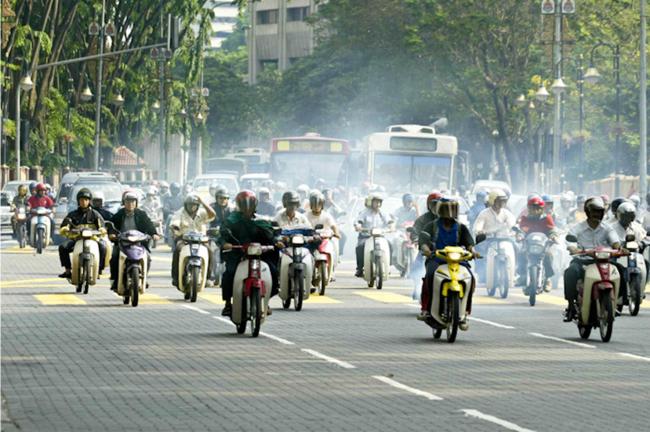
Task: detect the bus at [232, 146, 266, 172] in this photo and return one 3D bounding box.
[{"bbox_3d":[-5.163,-3.773,77.580,3.049,1.992,4.416,-1,-2,0],"label":"bus"}]

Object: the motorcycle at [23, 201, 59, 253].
[{"bbox_3d":[-8.364,0.268,34.069,0.683,1.131,2.118,2,10,-11],"label":"motorcycle"}]

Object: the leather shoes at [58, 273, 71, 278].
[{"bbox_3d":[-5.340,1.233,23.716,0.111,0.116,0.319,-2,4,-45],"label":"leather shoes"}]

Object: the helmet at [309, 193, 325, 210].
[{"bbox_3d":[-0.180,-0.300,23.974,0.284,0.316,0.350,-2,-1,-3],"label":"helmet"}]

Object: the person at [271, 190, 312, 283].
[{"bbox_3d":[-0.689,0.053,22.804,0.838,0.953,0.565,3,-13,-22],"label":"person"}]

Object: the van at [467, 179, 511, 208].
[{"bbox_3d":[5.933,-1.022,41.207,1.469,1.057,2.644,1,7,4],"label":"van"}]

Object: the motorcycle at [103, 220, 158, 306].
[{"bbox_3d":[-3.711,0.829,22.437,1.082,1.342,2.324,1,5,-5],"label":"motorcycle"}]

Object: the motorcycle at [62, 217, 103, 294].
[{"bbox_3d":[-4.942,0.892,23.908,0.938,1.240,2.219,2,-2,-11],"label":"motorcycle"}]

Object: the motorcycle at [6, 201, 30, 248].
[{"bbox_3d":[-9.563,0.214,36.031,0.934,1.172,1.942,0,-2,-17],"label":"motorcycle"}]

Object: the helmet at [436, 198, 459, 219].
[{"bbox_3d":[1.991,-0.099,18.693,0.310,0.270,0.371,1,-4,-10],"label":"helmet"}]

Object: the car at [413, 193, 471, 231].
[{"bbox_3d":[3.422,-0.080,33.074,1.824,0.814,0.985,-1,3,1],"label":"car"}]

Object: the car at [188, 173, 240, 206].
[{"bbox_3d":[-3.886,-0.969,41.695,1.537,1.158,2.432,-1,-6,-6],"label":"car"}]

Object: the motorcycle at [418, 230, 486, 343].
[{"bbox_3d":[1.937,1.250,18.163,0.713,1.508,0.604,1,-1,28],"label":"motorcycle"}]

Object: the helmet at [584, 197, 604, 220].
[{"bbox_3d":[4.540,-0.125,19.113,0.321,0.328,0.374,2,-11,-7],"label":"helmet"}]

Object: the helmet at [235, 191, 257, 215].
[{"bbox_3d":[-1.255,-0.203,18.584,0.334,0.386,0.412,0,2,-6],"label":"helmet"}]

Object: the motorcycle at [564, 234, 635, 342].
[{"bbox_3d":[4.335,1.269,18.462,0.784,1.510,0.595,1,-1,38],"label":"motorcycle"}]

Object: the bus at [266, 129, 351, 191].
[{"bbox_3d":[-0.470,-2.433,44.412,3.303,2.707,4.978,1,21,0],"label":"bus"}]

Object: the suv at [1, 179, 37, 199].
[{"bbox_3d":[-10.802,-0.901,40.659,1.120,0.871,1.815,-2,-5,-1],"label":"suv"}]

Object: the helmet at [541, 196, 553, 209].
[{"bbox_3d":[5.089,-0.280,26.260,0.332,0.294,0.278,1,7,22],"label":"helmet"}]

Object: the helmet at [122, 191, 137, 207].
[{"bbox_3d":[-3.840,-0.331,22.748,0.251,0.216,0.300,-3,8,-25],"label":"helmet"}]

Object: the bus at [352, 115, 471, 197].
[{"bbox_3d":[2.924,-1.938,39.750,3.304,2.447,2.488,1,-1,5],"label":"bus"}]

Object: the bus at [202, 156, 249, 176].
[{"bbox_3d":[-6.025,-3.090,71.072,2.167,1.559,3.169,-1,-6,-7],"label":"bus"}]

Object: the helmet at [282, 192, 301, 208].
[{"bbox_3d":[-0.668,-0.324,22.743,0.316,0.328,0.517,1,-1,-2],"label":"helmet"}]

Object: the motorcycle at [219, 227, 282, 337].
[{"bbox_3d":[-1.239,1.094,18.334,0.832,1.699,0.770,1,-1,22],"label":"motorcycle"}]

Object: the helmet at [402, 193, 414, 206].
[{"bbox_3d":[2.074,-0.402,28.581,0.227,0.258,0.265,0,3,3],"label":"helmet"}]

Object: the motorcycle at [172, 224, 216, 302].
[{"bbox_3d":[-2.585,1.017,22.244,0.650,0.894,0.524,1,-1,34],"label":"motorcycle"}]

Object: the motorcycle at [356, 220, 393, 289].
[{"bbox_3d":[1.134,0.962,25.368,0.567,1.343,0.563,1,-1,-8],"label":"motorcycle"}]

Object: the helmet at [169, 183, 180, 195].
[{"bbox_3d":[-4.354,-0.756,33.937,0.308,0.361,0.355,1,31,-17],"label":"helmet"}]

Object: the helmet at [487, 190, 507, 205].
[{"bbox_3d":[3.575,-0.380,24.378,0.315,0.286,0.392,-3,1,-42],"label":"helmet"}]

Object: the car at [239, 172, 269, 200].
[{"bbox_3d":[-2.875,-1.426,47.748,1.442,1.110,2.328,0,9,-8],"label":"car"}]
